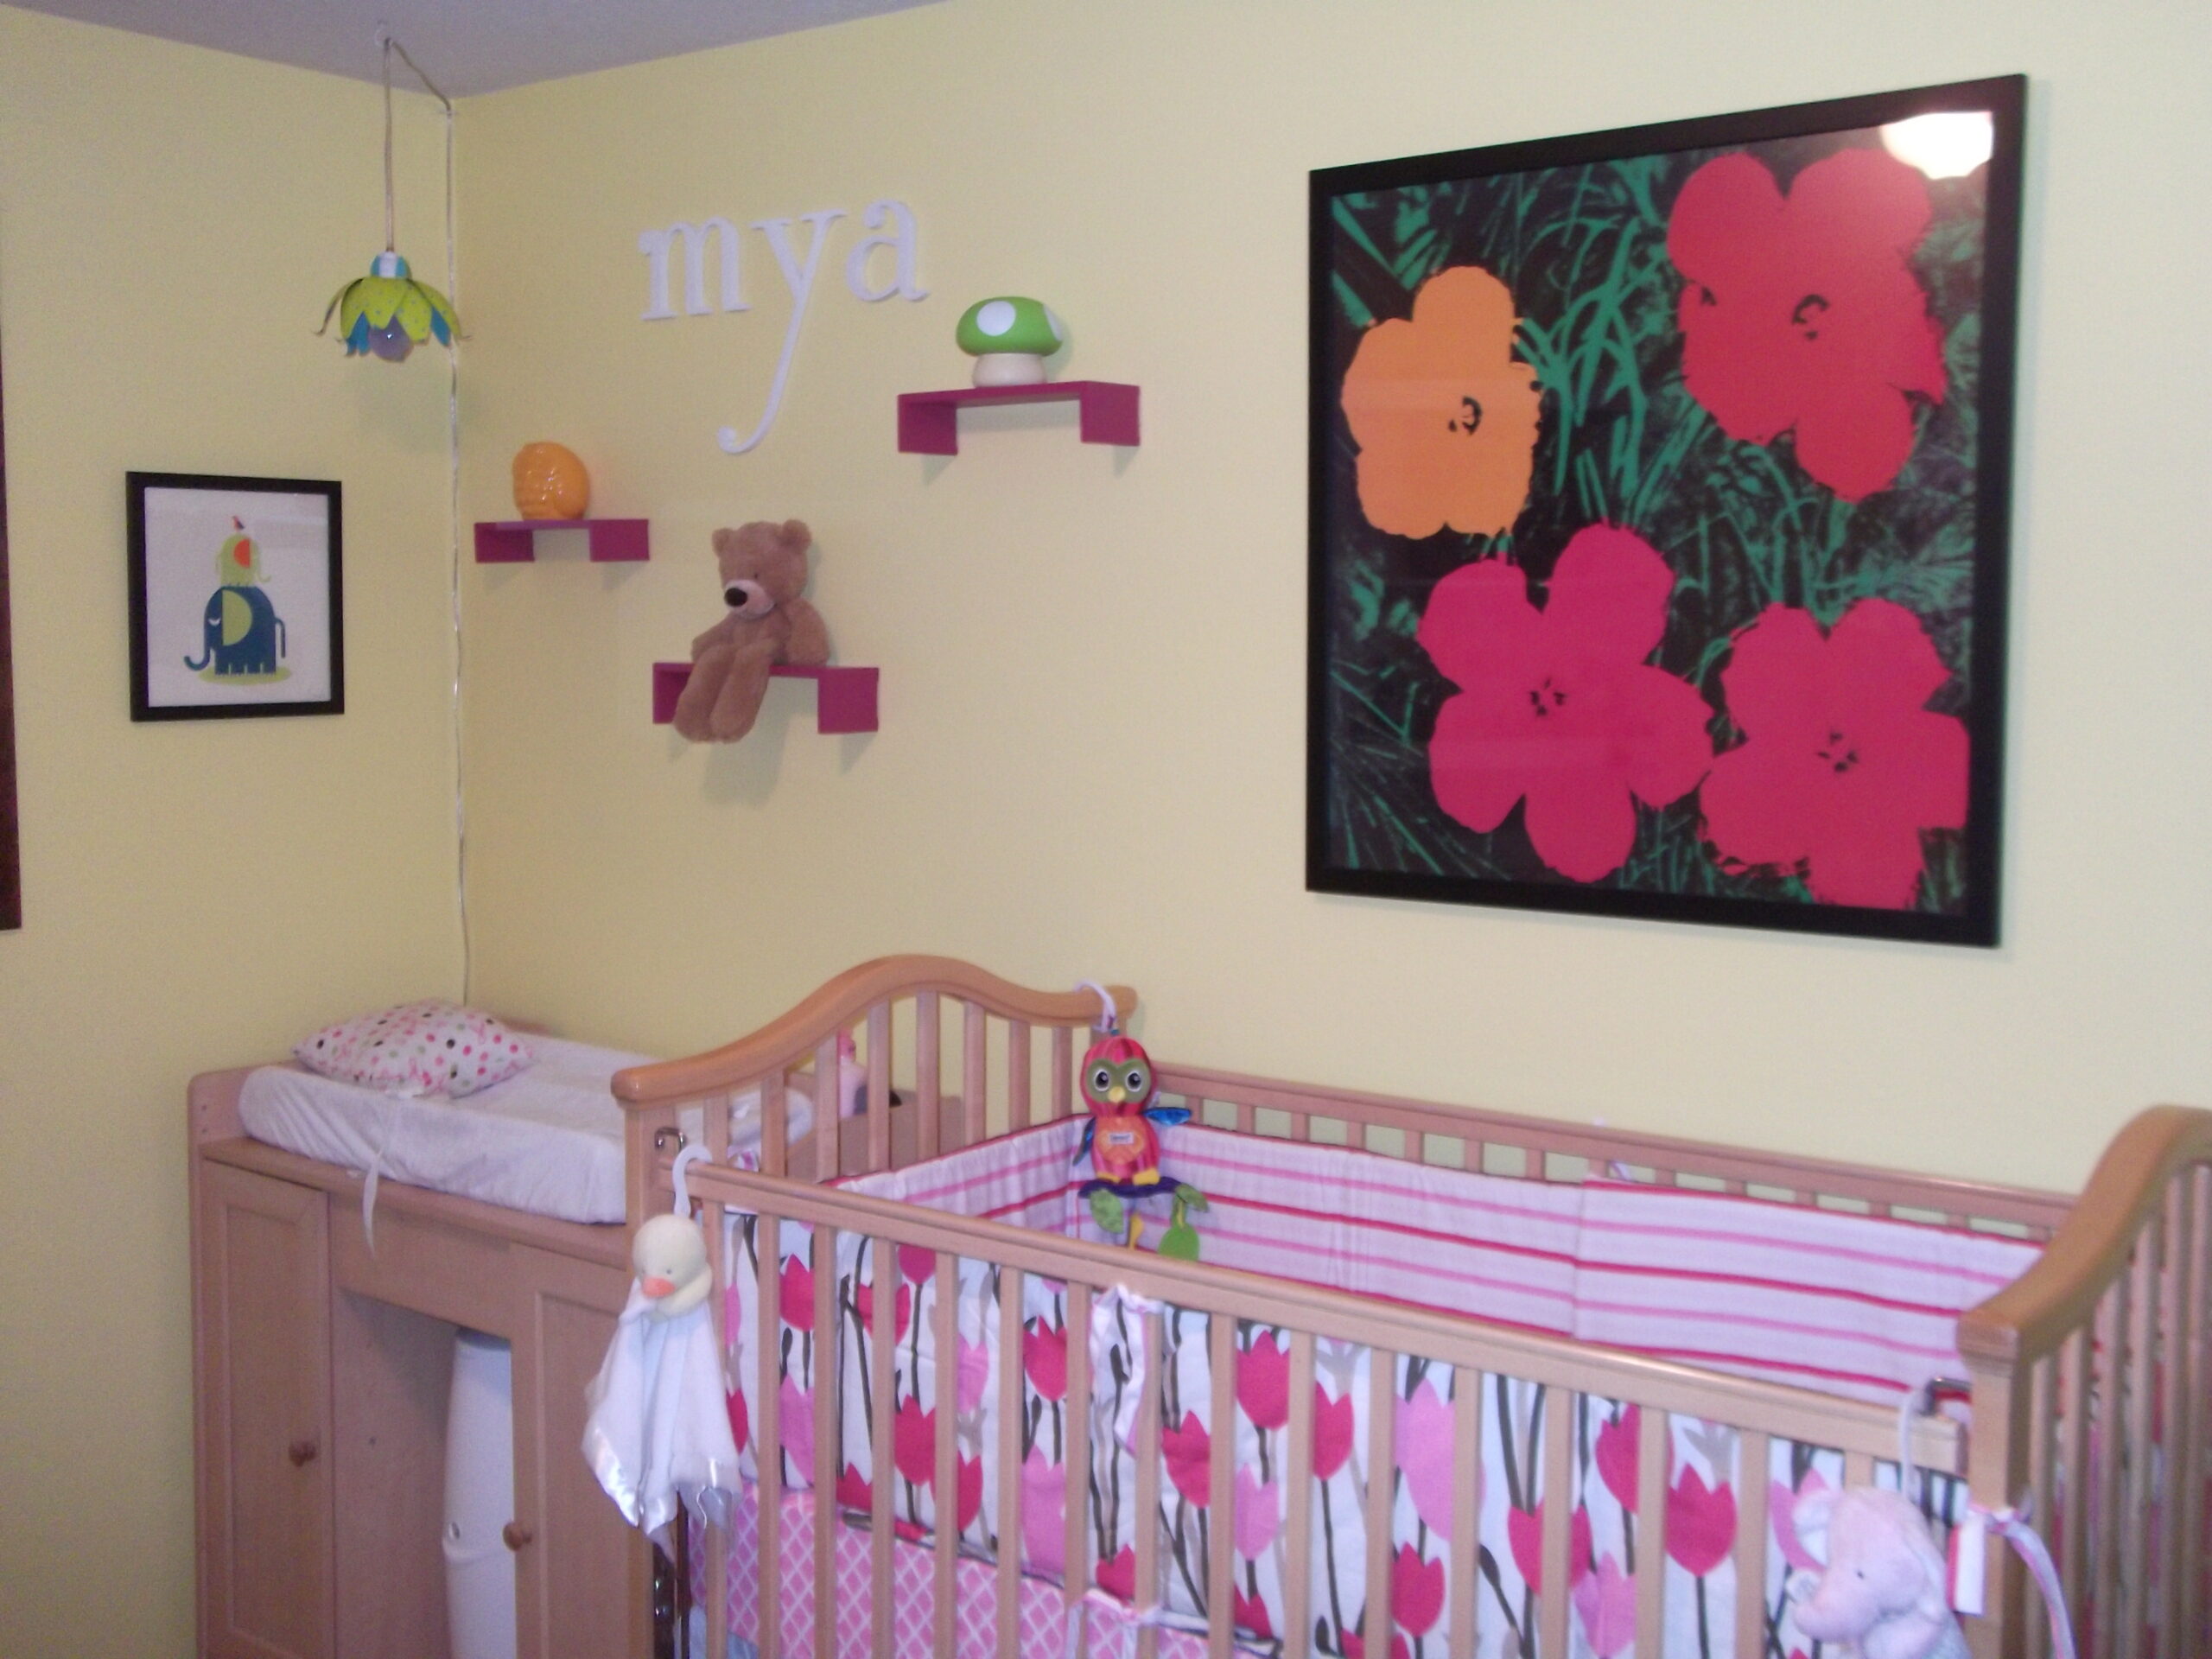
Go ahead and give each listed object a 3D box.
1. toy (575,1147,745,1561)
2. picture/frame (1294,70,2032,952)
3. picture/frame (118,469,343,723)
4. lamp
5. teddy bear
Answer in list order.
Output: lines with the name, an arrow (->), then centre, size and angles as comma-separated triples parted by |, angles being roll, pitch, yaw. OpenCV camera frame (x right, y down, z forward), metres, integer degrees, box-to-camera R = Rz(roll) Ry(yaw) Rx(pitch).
toy -> -0.587, 0.698, 2.532 | 0.181, 0.520, 0.131 | 2, 9, -9
picture/frame -> 0.828, -0.470, 2.713 | 1.130, 1.365, 0.046 | 4, 8, 32
picture/frame -> -1.682, -0.449, 3.651 | 0.033, 0.560, 0.442 | 3, 4, 41
lamp -> -1.349, -1.177, 3.613 | 0.264, 0.603, 0.594 | 0, 6, -20
teddy bear -> -0.641, -0.367, 3.487 | 0.260, 0.397, 0.285 | -1, 4, 8
